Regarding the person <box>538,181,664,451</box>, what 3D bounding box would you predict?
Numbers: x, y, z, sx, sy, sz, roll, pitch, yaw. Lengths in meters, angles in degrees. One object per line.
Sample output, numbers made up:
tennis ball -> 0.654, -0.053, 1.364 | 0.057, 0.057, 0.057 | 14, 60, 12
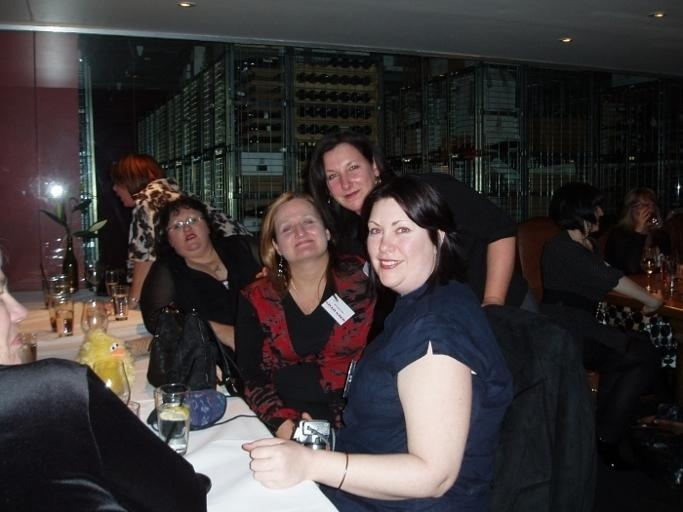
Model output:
person -> 1.630, 0.359, 3.405 | 0.713, 1.676, 0.779 | 0, 7, 32

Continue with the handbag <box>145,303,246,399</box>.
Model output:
handbag -> -0.570, 0.328, 2.124 | 0.347, 0.389, 0.380 | -1, 3, -13

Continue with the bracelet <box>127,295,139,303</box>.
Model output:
bracelet -> -1.372, 0.285, 3.479 | 0.058, 0.014, 0.057 | 3, 18, -9
